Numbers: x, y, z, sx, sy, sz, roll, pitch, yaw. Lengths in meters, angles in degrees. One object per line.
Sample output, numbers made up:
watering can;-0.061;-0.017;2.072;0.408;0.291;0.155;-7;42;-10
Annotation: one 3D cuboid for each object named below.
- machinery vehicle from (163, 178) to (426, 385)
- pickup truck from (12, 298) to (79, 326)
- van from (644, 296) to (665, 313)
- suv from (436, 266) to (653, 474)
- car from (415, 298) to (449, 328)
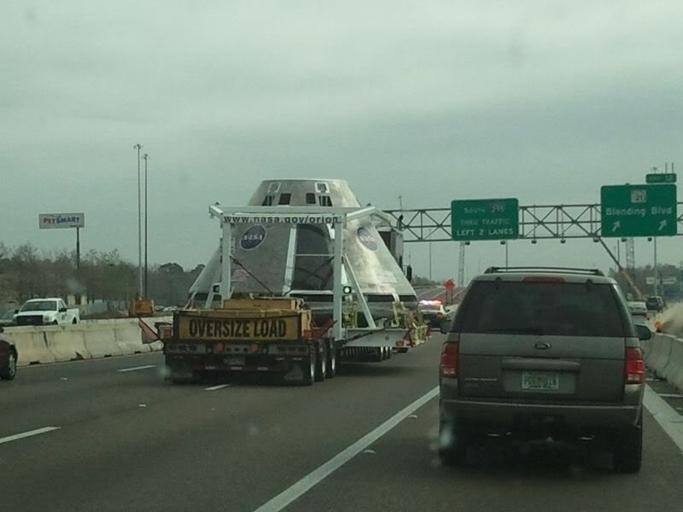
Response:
machinery vehicle;-0.859;0.099;25.305;5.709;4.423;9.959;3;1;4
pickup truck;-14.559;2.705;47.877;2.796;1.293;4.986;-1;-1;-19
van;29.345;4.454;90.471;1.052;0.990;2.385;0;6;27
suv;3.010;1.853;13.843;2.632;2.677;5.076;0;-10;16
car;4.643;2.660;47.870;1.195;1.057;3.003;0;3;15
